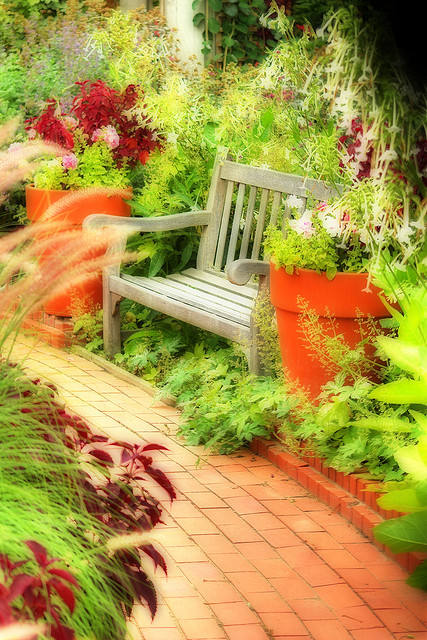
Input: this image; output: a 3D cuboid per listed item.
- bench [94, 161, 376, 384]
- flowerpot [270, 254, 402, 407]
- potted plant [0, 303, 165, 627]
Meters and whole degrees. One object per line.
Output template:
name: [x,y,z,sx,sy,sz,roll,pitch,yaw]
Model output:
bench: [0.110,-0.263,3.047,0.785,1.065,1.610,-4,11,-35]
flowerpot: [0.553,0.074,2.442,0.568,0.647,0.201,3,14,10]
potted plant: [-0.387,0.393,1.620,0.188,0.273,1.139,11,23,-28]
